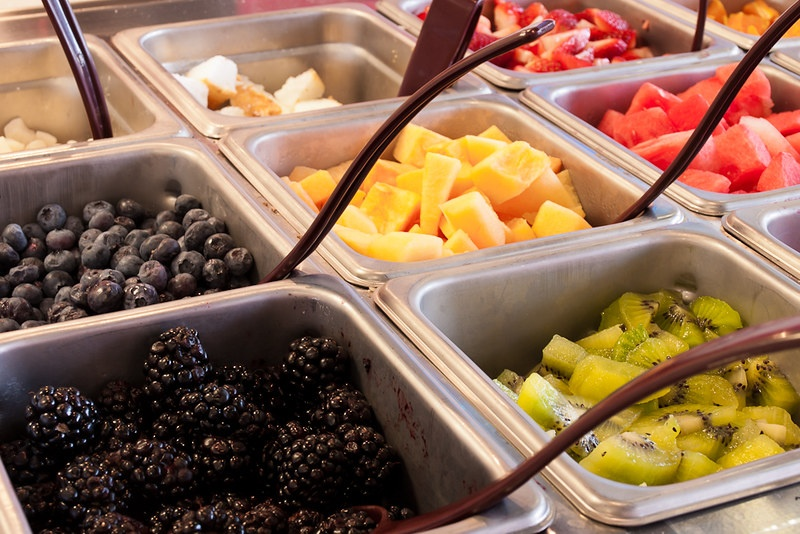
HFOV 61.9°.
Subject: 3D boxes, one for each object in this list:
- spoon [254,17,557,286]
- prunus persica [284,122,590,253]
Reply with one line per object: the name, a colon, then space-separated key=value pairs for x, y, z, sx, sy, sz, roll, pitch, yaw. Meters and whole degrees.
spoon: x=0.022 y=-0.276 z=1.634 sx=0.998 sy=0.081 sz=0.123 roll=-50 pitch=45 yaw=5
prunus persica: x=0.108 y=-0.162 z=1.601 sx=0.437 sy=0.134 sz=0.442 roll=-12 pitch=35 yaw=-11
